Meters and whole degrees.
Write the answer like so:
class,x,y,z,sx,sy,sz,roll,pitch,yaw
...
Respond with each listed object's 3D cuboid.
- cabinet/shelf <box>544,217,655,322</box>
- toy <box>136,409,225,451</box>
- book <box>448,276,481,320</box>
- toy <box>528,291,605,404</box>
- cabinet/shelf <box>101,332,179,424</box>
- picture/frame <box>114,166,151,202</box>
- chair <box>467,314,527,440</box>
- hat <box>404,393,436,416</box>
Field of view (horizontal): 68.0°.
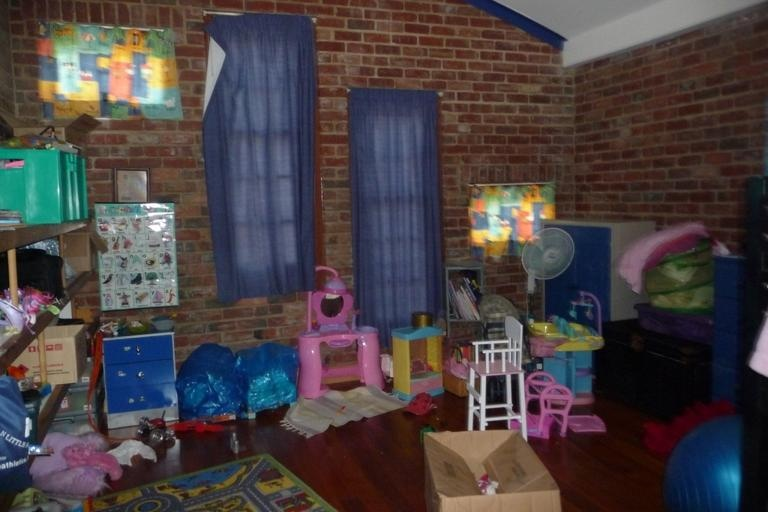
class,x,y,z,sx,sy,sz,roll,pitch,yaw
cabinet/shelf,2.068,0.294,6.184,0.421,1.082,1.155,-3,-13,1
toy,-1.753,1.439,4.881,0.697,0.167,0.466,-5,7,-24
book,0.825,0.447,5.933,0.308,0.424,0.128,-2,-6,-1
toy,1.675,0.862,5.151,0.559,0.912,0.978,0,3,2
cabinet/shelf,-2.224,1.213,5.128,0.657,0.787,0.543,-3,-28,-28
picture/frame,-2.338,-0.662,5.236,0.315,0.358,0.036,3,3,-22
chair,0.947,0.977,4.790,0.465,0.984,1.043,-1,6,13
hat,0.361,1.334,5.187,0.352,0.139,0.203,-8,8,-43
